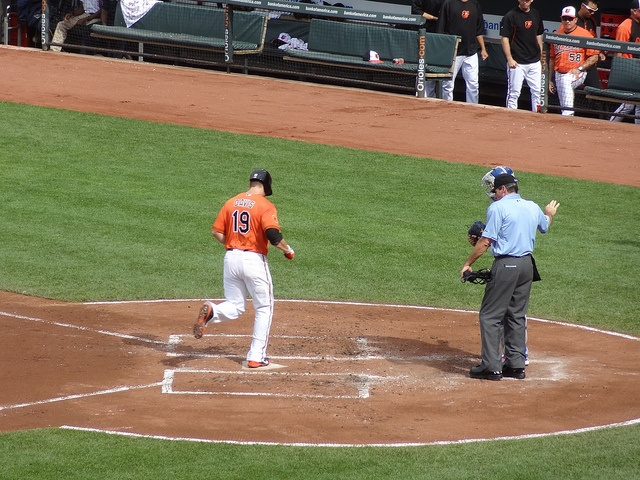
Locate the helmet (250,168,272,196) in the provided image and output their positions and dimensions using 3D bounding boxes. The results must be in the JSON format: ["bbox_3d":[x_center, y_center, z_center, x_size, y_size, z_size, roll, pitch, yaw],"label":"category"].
[{"bbox_3d":[-0.697,-0.737,17.003,0.265,0.318,0.348,10,0,19],"label":"helmet"}]

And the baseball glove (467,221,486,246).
[{"bbox_3d":[2.087,-0.074,17.175,0.232,0.276,0.321,-7,-17,43],"label":"baseball glove"}]

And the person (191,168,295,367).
[{"bbox_3d":[-0.962,0.377,16.902,1.067,2.557,0.513,4,8,-3],"label":"person"}]

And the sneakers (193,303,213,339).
[{"bbox_3d":[-1.511,1.042,16.841,0.226,0.507,0.242,4,8,-5],"label":"sneakers"}]

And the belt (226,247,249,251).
[{"bbox_3d":[-1.074,0.130,16.775,0.291,0.056,0.039,8,9,23],"label":"belt"}]

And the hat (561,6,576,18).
[{"bbox_3d":[4.731,-4.299,24.611,0.251,0.207,0.335,4,8,-3],"label":"hat"}]

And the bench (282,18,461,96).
[{"bbox_3d":[1.207,-3.910,26.680,3.837,1.299,0.972,8,5,22],"label":"bench"}]

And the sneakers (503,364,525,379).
[{"bbox_3d":[2.534,1.699,17.026,0.342,0.151,0.135,13,17,42],"label":"sneakers"}]

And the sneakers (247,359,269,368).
[{"bbox_3d":[-0.814,1.619,17.038,0.282,0.115,0.099,-8,14,-33],"label":"sneakers"}]

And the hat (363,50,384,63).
[{"bbox_3d":[1.102,-3.729,26.612,0.342,0.181,0.212,6,13,10],"label":"hat"}]

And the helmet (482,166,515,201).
[{"bbox_3d":[2.401,-0.750,17.250,0.490,0.454,0.376,-3,11,13],"label":"helmet"}]

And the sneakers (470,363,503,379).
[{"bbox_3d":[2.175,1.695,16.988,0.391,0.193,0.181,10,13,26],"label":"sneakers"}]
